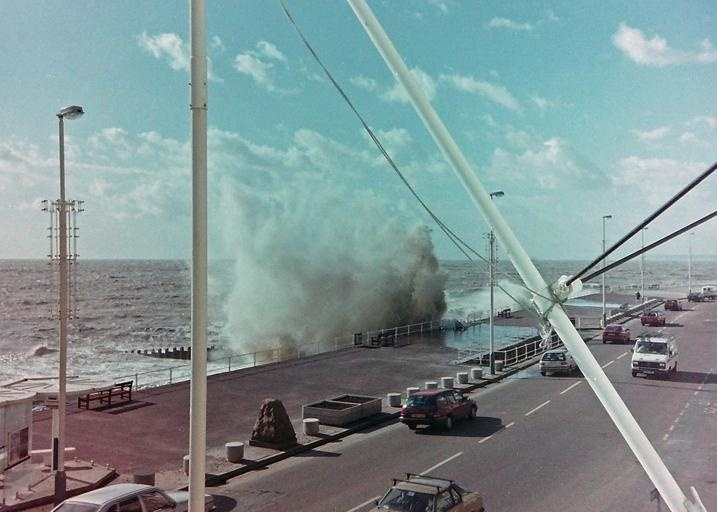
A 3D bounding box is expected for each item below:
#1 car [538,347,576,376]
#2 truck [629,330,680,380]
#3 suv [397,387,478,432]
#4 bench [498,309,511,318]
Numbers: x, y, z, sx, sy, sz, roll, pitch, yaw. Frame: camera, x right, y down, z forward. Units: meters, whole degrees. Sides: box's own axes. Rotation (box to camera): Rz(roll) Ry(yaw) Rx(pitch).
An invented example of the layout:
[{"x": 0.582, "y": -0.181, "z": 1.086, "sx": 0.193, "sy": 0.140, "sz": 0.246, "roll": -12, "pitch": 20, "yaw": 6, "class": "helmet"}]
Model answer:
[{"x": 13.480, "y": 7.140, "z": 39.039, "sx": 1.643, "sy": 1.722, "sz": 2.618, "roll": 5, "pitch": 6, "yaw": 38, "class": "car"}, {"x": 18.890, "y": 6.163, "z": 36.876, "sx": 1.993, "sy": 1.952, "sz": 3.705, "roll": -4, "pitch": -6, "yaw": 33, "class": "truck"}, {"x": 3.678, "y": 6.957, "z": 26.285, "sx": 3.298, "sy": 1.808, "sz": 1.502, "roll": -2, "pitch": 6, "yaw": -38, "class": "suv"}, {"x": 19.912, "y": 7.634, "z": 78.844, "sx": 1.532, "sy": 1.530, "sz": 1.130, "roll": 1, "pitch": -4, "yaw": -5, "class": "bench"}]
